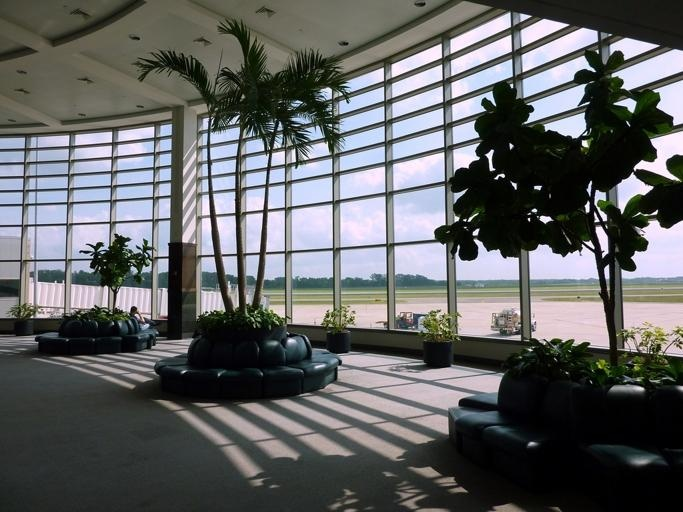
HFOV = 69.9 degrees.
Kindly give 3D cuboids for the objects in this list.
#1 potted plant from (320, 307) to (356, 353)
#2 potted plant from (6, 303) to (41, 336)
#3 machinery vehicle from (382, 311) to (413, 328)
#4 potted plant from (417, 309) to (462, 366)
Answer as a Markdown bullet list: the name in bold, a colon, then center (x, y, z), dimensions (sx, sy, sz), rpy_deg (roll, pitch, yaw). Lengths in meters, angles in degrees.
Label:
- **potted plant**: center (-0.069, 1.716, 11.379), dimensions (1.012, 1.297, 0.942), rpy_deg (1, -7, -10)
- **potted plant**: center (-9.886, 1.990, 15.394), dimensions (1.043, 1.034, 0.867), rpy_deg (5, -10, -39)
- **machinery vehicle**: center (1.586, 1.583, 12.070), dimensions (0.619, 0.321, 0.412), rpy_deg (1, -2, -33)
- **potted plant**: center (1.958, 1.614, 9.606), dimensions (0.656, 1.113, 0.958), rpy_deg (-3, -9, 24)
